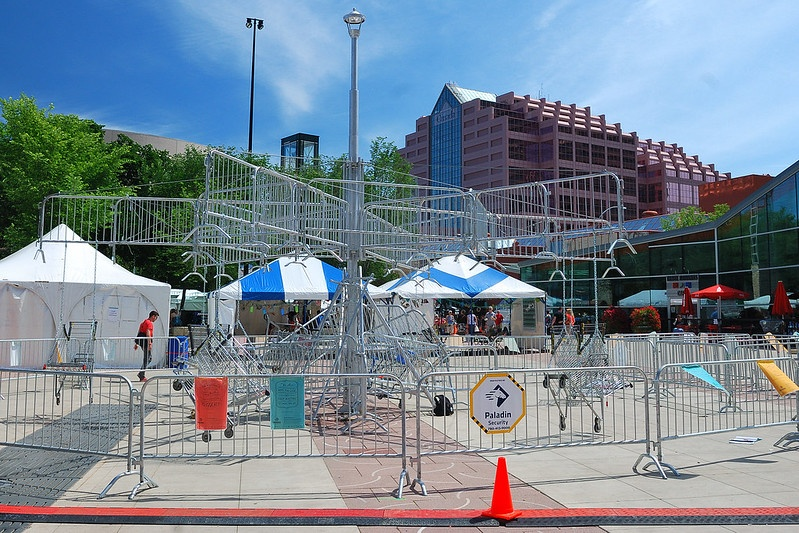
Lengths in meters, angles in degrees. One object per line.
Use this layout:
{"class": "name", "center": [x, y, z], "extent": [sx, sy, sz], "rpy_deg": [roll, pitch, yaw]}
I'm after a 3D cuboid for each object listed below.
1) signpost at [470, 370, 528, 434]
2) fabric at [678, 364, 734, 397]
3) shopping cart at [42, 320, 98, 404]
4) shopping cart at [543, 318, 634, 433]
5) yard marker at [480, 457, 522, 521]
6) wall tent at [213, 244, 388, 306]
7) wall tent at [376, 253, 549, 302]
{"class": "signpost", "center": [1.767, 2.451, 14.358], "extent": [1.250, 1.102, 0.086], "rpy_deg": [3, -9, -25]}
{"class": "fabric", "center": [5.832, 2.108, 15.208], "extent": [0.591, 0.478, 0.630], "rpy_deg": [-8, 14, -34]}
{"class": "shopping cart", "center": [-8.893, 2.641, 22.078], "extent": [1.290, 1.905, 2.964], "rpy_deg": [0, 7, -6]}
{"class": "shopping cart", "center": [4.764, 2.206, 21.073], "extent": [1.648, 1.989, 2.313], "rpy_deg": [-6, 5, 1]}
{"class": "yard marker", "center": [1.714, 3.662, 13.377], "extent": [0.620, 0.990, 0.529], "rpy_deg": [2, 12, 8]}
{"class": "wall tent", "center": [-3.831, 0.507, 27.286], "extent": [4.225, 1.884, 1.596], "rpy_deg": [-8, 15, -35]}
{"class": "wall tent", "center": [1.966, 0.385, 30.375], "extent": [6.676, 1.427, 7.034], "rpy_deg": [-1, 1, -34]}
